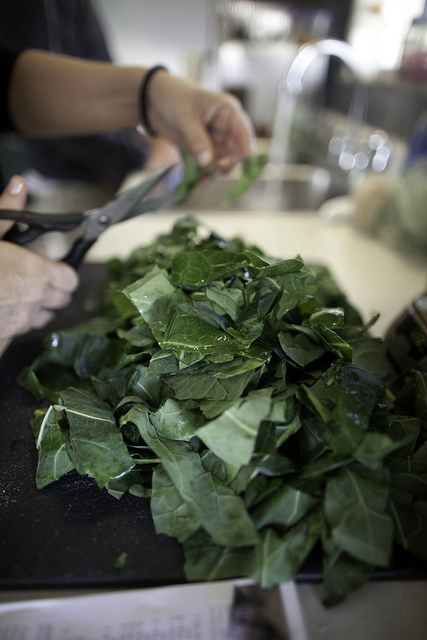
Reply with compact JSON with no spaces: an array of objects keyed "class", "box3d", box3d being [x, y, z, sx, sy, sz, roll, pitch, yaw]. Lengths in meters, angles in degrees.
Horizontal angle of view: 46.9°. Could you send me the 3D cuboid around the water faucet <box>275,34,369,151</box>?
[{"class":"water faucet","box3d":[0.210,-0.411,0.914,0.153,0.217,0.046,5,56,10]}]
